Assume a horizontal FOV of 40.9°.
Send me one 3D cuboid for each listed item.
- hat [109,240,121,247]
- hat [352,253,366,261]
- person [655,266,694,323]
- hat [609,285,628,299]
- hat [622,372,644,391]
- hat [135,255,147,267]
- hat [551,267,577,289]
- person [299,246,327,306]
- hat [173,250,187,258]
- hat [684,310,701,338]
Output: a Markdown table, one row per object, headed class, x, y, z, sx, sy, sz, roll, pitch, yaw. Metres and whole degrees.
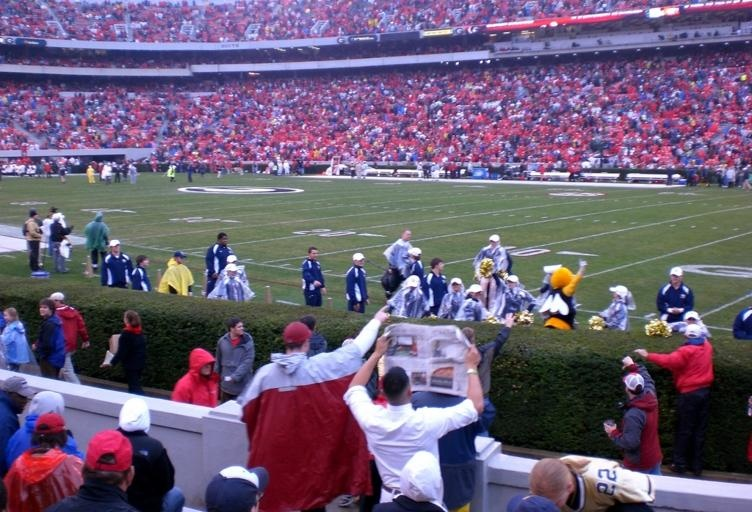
| class | x | y | z | sx | sy | sz | roll | pitch | yaw |
| --- | --- | --- | --- | --- | --- | --- | --- | --- | --- |
| hat | -8.785 | -0.427 | 33.982 | 0.327 | 0.205 | 0.430 | -1 | 3 | -33 |
| hat | -0.619 | 0.034 | 31.720 | 0.341 | 0.150 | 0.268 | -1 | 4 | 40 |
| person | 8.738 | 1.244 | 29.541 | 1.294 | 1.609 | 1.149 | -6 | 15 | -13 |
| hat | 6.970 | 1.067 | 28.980 | 0.586 | 0.268 | 0.381 | 16 | 19 | 14 |
| hat | 6.259 | 3.084 | 24.698 | 0.382 | 0.436 | 0.467 | 7 | 28 | 10 |
| hat | -7.382 | 0.165 | 31.865 | 0.283 | 0.357 | 0.364 | 2 | 0 | -17 |
| hat | 4.969 | 0.594 | 27.009 | 0.438 | 0.540 | 0.619 | 2 | 0 | 44 |
| person | -1.990 | 0.659 | 31.921 | 0.663 | 1.873 | 1.123 | 2 | 0 | 0 |
| hat | -6.688 | -0.068 | 34.412 | 0.409 | 0.189 | 0.258 | -1 | 15 | -12 |
| hat | 8.297 | 1.778 | 26.593 | 0.503 | 0.248 | 0.774 | 2 | 15 | 12 |
